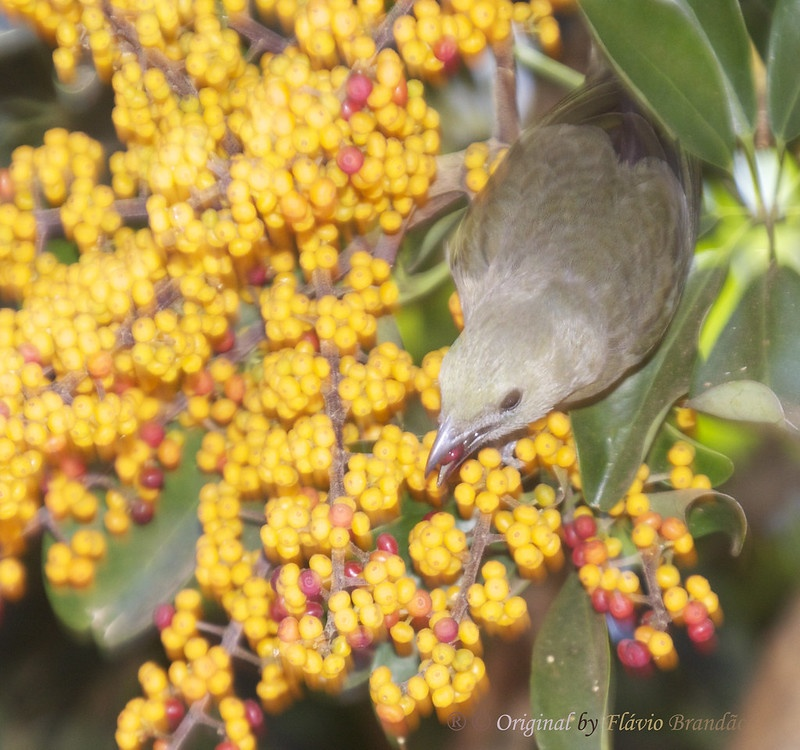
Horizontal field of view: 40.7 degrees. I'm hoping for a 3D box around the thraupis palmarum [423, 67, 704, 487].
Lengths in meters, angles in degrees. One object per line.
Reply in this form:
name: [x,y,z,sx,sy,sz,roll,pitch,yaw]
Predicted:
thraupis palmarum: [0.308,-0.174,2.030,0.535,0.683,0.786,5,30,19]
